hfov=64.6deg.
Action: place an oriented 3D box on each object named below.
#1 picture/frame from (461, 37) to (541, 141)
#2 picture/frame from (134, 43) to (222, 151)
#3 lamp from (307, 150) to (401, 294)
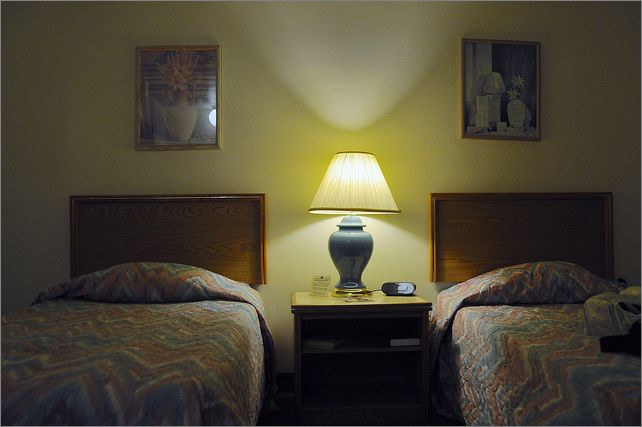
[{"bbox_3d":[1.371,-0.960,3.923,0.792,0.961,0.065,1,-3,-8],"label":"picture/frame"},{"bbox_3d":[-1.085,-0.865,3.862,0.812,0.953,0.066,0,3,4],"label":"picture/frame"},{"bbox_3d":[0.245,0.081,3.786,0.662,1.049,0.637,-1,3,-23],"label":"lamp"}]
